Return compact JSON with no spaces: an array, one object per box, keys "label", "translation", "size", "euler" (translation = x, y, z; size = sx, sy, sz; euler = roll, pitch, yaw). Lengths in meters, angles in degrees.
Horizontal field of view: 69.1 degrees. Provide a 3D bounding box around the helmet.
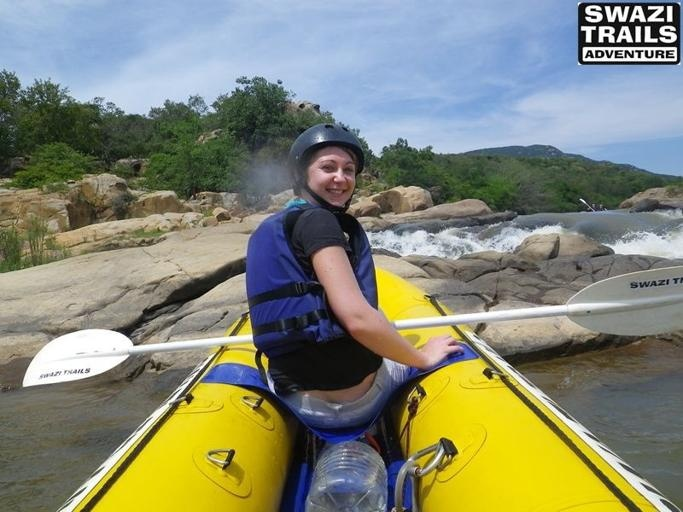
[{"label":"helmet","translation":[-0.109,-0.523,2.781],"size":[0.435,0.329,0.356],"euler":[-7,-8,45]}]
